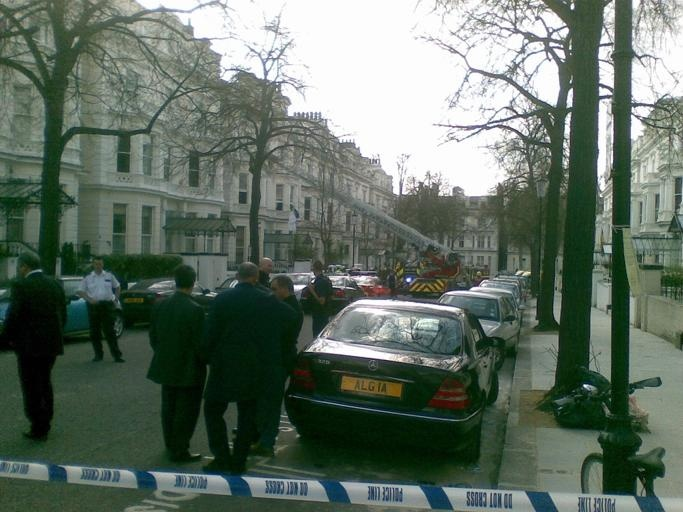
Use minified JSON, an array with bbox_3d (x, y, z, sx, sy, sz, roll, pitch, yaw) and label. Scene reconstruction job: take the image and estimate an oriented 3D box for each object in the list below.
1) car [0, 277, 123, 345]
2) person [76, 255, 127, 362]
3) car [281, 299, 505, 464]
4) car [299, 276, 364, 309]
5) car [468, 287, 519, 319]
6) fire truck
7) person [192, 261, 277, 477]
[{"bbox_3d":[-6.194,1.239,17.259,1.685,1.505,2.792,-2,-8,24],"label":"car"},{"bbox_3d":[-4.675,1.032,15.296,0.789,2.021,1.163,-1,5,-18],"label":"person"},{"bbox_3d":[0.873,1.520,10.398,1.452,0.988,2.930,2,2,18],"label":"car"},{"bbox_3d":[-0.317,0.984,20.789,1.023,0.778,2.513,-1,-4,10],"label":"car"},{"bbox_3d":[4.005,1.031,19.823,0.860,0.825,1.639,-2,-12,20],"label":"car"},{"bbox_3d":[1.814,-0.663,35.207,8.596,3.806,2.254,12,2,-29],"label":"fire truck"},{"bbox_3d":[-1.273,1.312,9.363,0.592,2.371,0.854,5,6,38],"label":"person"}]
